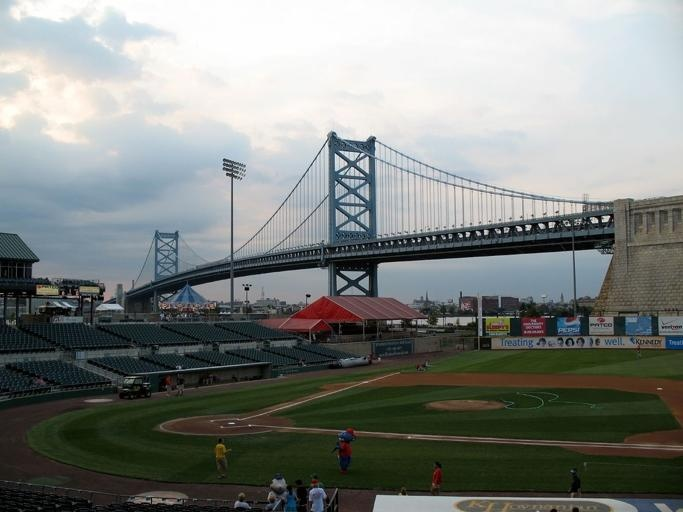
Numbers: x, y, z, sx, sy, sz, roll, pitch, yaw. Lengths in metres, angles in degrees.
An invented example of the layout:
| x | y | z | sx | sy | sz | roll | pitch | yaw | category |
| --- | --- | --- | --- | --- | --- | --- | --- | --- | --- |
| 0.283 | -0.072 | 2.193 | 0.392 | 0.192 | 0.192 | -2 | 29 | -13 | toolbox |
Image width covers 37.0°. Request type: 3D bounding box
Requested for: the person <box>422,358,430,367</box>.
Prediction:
| x | y | z | sx | sy | sz | roll | pitch | yaw | category |
| --- | --- | --- | --- | --- | --- | --- | --- | --- | --- |
| 8.333 | 10.239 | 97.911 | 0.901 | 0.511 | 0.812 | -1 | -5 | 0 | person |

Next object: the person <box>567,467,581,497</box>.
| x | y | z | sx | sy | sz | roll | pitch | yaw | category |
| --- | --- | --- | --- | --- | --- | --- | --- | --- | --- |
| 12.879 | 12.125 | 55.571 | 0.607 | 1.378 | 2.118 | 1 | 0 | 13 | person |

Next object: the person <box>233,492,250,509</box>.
| x | y | z | sx | sy | sz | roll | pitch | yaw | category |
| --- | --- | --- | --- | --- | --- | --- | --- | --- | --- |
| -5.287 | 13.094 | 54.874 | 1.087 | 1.158 | 0.695 | -4 | -25 | -6 | person |
